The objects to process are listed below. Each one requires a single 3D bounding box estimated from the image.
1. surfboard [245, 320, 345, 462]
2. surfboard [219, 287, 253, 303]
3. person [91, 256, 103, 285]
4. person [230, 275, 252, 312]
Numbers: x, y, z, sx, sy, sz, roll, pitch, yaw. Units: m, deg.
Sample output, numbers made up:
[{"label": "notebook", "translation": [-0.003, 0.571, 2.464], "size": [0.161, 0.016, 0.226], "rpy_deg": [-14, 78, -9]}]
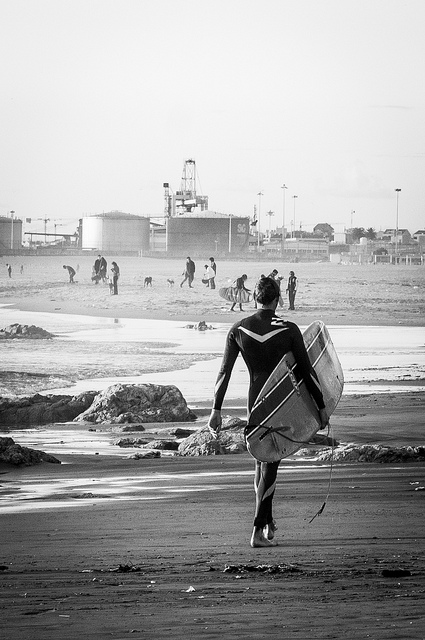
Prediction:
[{"label": "surfboard", "translation": [0.363, 0.332, 6.824], "size": [0.228, 0.268, 1.062], "rpy_deg": [-23, 22, 22]}, {"label": "surfboard", "translation": [0.375, -0.568, 27.434], "size": [0.379, 0.137, 0.365], "rpy_deg": [-2, -47, 28]}, {"label": "person", "translation": [-2.810, -1.249, 36.484], "size": [0.252, 0.679, 1.089], "rpy_deg": [1, 4, -6]}, {"label": "person", "translation": [0.542, -0.530, 29.137], "size": [0.362, 0.237, 0.816], "rpy_deg": [-21, -40, -13]}]
